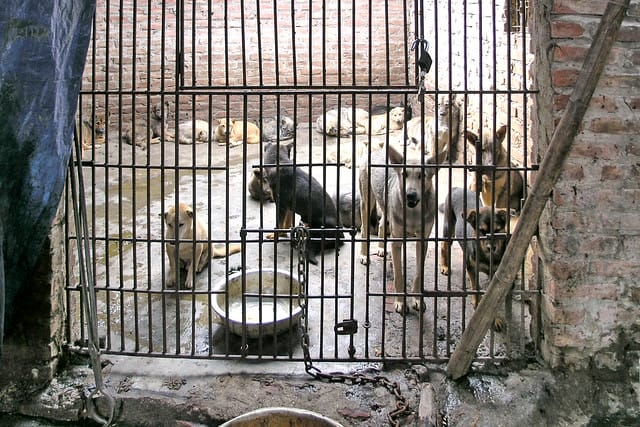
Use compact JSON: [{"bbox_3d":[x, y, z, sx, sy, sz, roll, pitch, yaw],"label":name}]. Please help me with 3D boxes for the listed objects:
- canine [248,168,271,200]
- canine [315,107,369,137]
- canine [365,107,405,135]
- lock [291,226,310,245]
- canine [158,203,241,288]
[{"bbox_3d":[-0.829,-0.425,8.845,0.257,0.403,0.395,-14,-62,-15],"label":"canine"},{"bbox_3d":[0.451,-1.936,12.631,1.035,1.435,0.476,-3,-63,3],"label":"canine"},{"bbox_3d":[1.384,-1.854,13.126,0.914,0.504,0.424,-9,-65,27],"label":"canine"},{"bbox_3d":[-0.161,0.187,5.407,0.127,0.044,0.167,5,-76,24],"label":"lock"},{"bbox_3d":[-1.324,0.268,7.185,0.618,1.889,0.857,-3,-86,4],"label":"canine"}]
